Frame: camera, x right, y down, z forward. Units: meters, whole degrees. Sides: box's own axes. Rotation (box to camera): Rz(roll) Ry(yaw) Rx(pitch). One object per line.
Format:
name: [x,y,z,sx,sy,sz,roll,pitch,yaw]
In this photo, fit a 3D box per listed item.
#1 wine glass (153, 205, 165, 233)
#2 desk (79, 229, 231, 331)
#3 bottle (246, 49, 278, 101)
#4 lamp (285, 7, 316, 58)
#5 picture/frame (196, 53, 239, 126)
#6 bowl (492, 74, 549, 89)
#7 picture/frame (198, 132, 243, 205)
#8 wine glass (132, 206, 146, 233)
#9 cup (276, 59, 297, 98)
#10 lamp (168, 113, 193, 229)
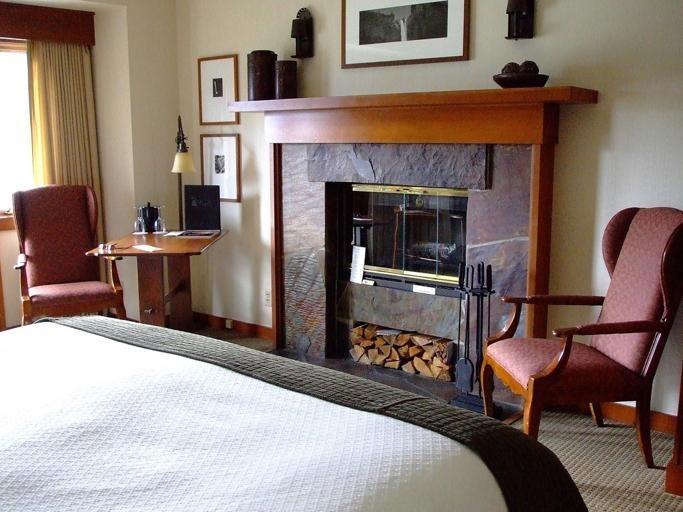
wine glass: [-1.547,-0.333,4.568,0.089,0.202,0.422,-3,13,-18]
desk: [-1.376,0.198,4.293,0.803,0.767,0.815,4,21,7]
bottle: [-0.578,-1.312,3.918,0.190,0.334,0.094,0,13,-3]
lamp: [-0.314,-1.616,3.881,0.191,0.355,0.150,9,15,33]
picture/frame: [-1.005,-1.389,4.427,0.572,0.703,0.030,8,12,40]
bowl: [0.971,-0.948,2.925,0.280,0.085,0.161,4,13,15]
picture/frame: [-0.992,-0.730,4.488,0.559,0.722,0.045,6,11,40]
wine glass: [-1.663,-0.302,4.417,0.081,0.212,0.158,-8,15,-34]
cup: [-0.394,-1.269,3.867,0.150,0.262,0.106,-2,13,-13]
lamp: [-1.361,-0.708,4.610,0.173,0.981,0.484,-3,13,-17]
